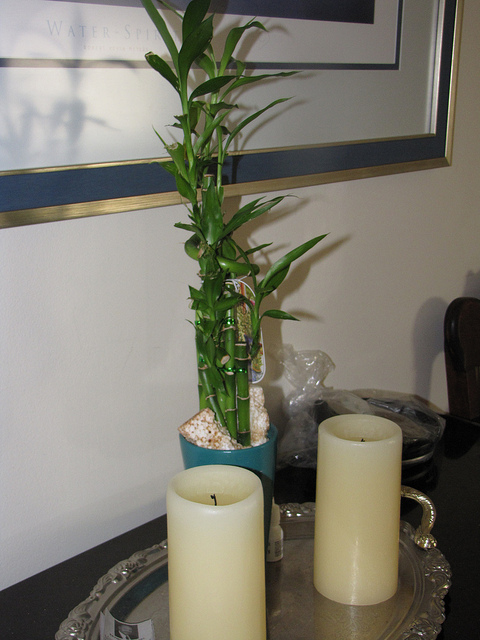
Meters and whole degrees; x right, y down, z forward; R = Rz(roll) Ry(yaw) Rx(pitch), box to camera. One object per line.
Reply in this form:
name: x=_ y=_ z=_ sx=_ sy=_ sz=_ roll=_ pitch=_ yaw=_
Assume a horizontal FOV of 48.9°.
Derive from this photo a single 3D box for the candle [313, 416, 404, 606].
candle: x=0.078 y=0.135 z=0.379 sx=0.058 sy=0.139 sz=0.043 roll=-5 pitch=12 yaw=-25
